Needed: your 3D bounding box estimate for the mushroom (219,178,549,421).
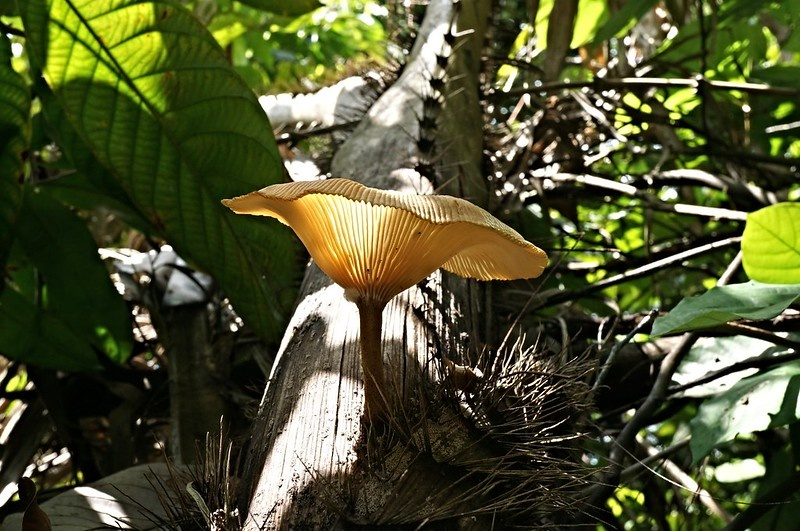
[{"bbox_3d":[-0.101,0.196,3.023,0.790,0.506,0.780,9,-12,-32],"label":"mushroom"}]
